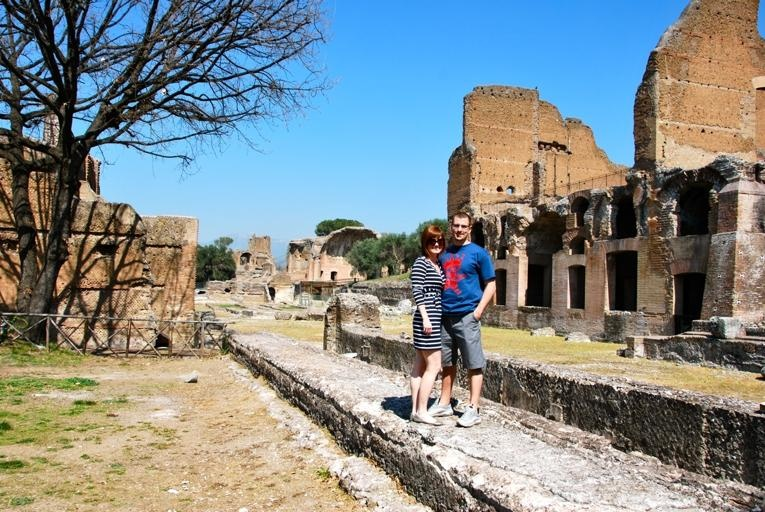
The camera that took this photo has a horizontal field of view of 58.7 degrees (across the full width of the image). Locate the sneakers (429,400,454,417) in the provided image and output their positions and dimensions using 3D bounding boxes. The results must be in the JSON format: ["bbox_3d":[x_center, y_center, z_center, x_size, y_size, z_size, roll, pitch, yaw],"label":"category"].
[{"bbox_3d":[0.827,2.265,9.953,0.416,0.187,0.146,5,-13,-22],"label":"sneakers"}]

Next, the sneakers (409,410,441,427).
[{"bbox_3d":[0.608,2.349,9.699,0.432,0.160,0.159,2,-3,7],"label":"sneakers"}]

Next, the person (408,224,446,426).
[{"bbox_3d":[0.622,0.994,9.766,0.495,2.773,0.799,2,10,3],"label":"person"}]

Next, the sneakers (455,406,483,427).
[{"bbox_3d":[1.238,2.307,9.730,0.404,0.252,0.196,-5,12,-34],"label":"sneakers"}]
